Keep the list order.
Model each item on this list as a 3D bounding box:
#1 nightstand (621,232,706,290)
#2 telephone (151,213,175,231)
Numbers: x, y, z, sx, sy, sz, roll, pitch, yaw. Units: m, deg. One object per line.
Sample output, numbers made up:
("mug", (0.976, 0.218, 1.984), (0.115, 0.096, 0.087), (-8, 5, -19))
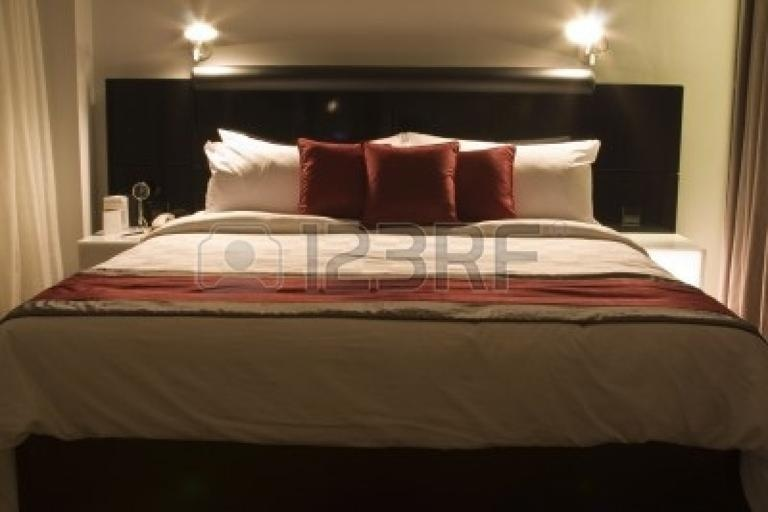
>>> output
("nightstand", (1.712, 0.004, 3.867), (0.424, 0.255, 0.395), (1, 3, 7))
("telephone", (-1.301, -0.200, 3.812), (0.104, 0.082, 0.169), (0, 7, -2))
